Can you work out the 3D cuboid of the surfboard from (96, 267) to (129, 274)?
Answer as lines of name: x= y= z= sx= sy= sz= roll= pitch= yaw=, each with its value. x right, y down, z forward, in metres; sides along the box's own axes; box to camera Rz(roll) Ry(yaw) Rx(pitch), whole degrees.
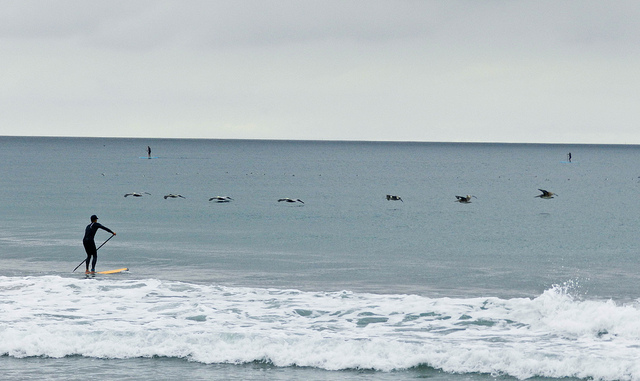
surfboard: x=-19.533 y=7.719 z=126.408 sx=2.858 sy=0.306 sz=0.716 roll=-9 pitch=24 yaw=-30
